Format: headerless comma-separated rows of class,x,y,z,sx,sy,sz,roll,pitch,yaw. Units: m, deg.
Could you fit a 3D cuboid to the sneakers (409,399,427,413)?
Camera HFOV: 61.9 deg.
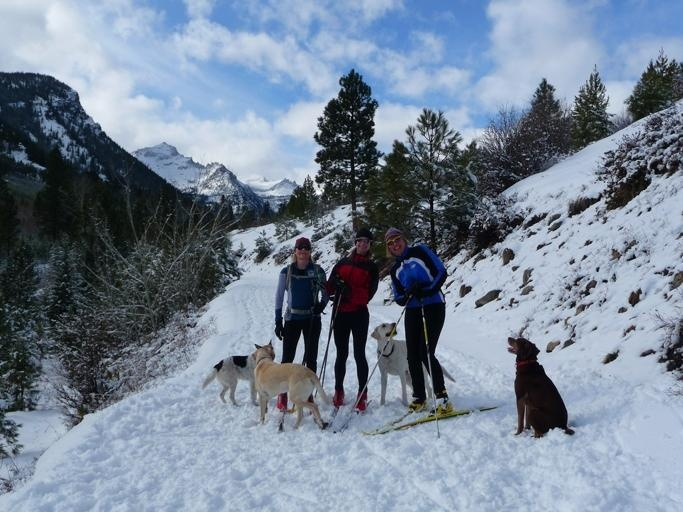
sneakers,1.743,3.494,13.122,0.479,0.213,0.248,8,-20,-17

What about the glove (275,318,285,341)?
glove,-1.477,1.779,13.576,0.114,0.421,0.283,-1,-22,2

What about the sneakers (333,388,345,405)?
sneakers,-0.056,3.362,13.544,0.251,0.429,0.212,6,-20,-7

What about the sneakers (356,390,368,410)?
sneakers,0.494,3.452,13.393,0.207,0.584,0.170,3,6,-42

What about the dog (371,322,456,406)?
dog,1.754,2.689,14.098,0.934,2.130,3.054,-5,-6,40

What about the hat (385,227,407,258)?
hat,1.326,-0.308,13.408,0.385,0.601,0.614,-3,-6,27

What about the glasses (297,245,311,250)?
glasses,-0.893,-0.172,13.583,0.305,0.109,0.102,-5,-2,-20

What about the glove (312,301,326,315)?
glove,-0.532,1.270,13.541,0.213,0.285,0.288,18,-11,-15
